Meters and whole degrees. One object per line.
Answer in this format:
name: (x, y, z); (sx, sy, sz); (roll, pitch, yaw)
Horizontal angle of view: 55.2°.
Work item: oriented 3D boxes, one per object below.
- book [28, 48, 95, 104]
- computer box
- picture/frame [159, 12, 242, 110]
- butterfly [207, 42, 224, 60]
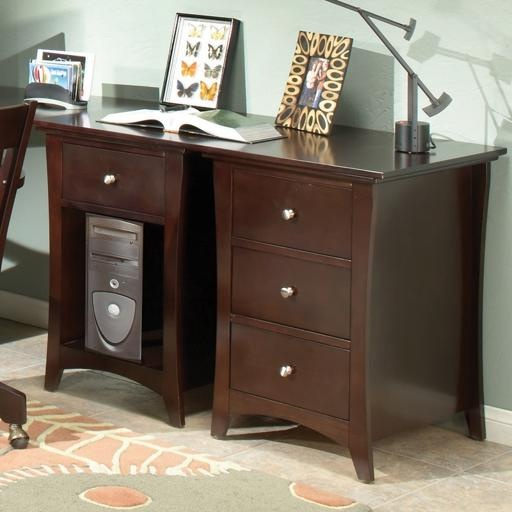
book: (-0.750, -0.715, 1.933); (0.123, 0.214, 0.345); (-8, 15, -44)
computer box: (-0.414, 0.084, 1.643); (0.272, 0.441, 0.288); (13, 15, 37)
picture/frame: (-0.180, -0.681, 1.803); (0.335, 0.371, 0.072); (11, 3, 37)
butterfly: (-0.142, -0.727, 1.728); (0.063, 0.057, 0.007); (14, 19, 37)
